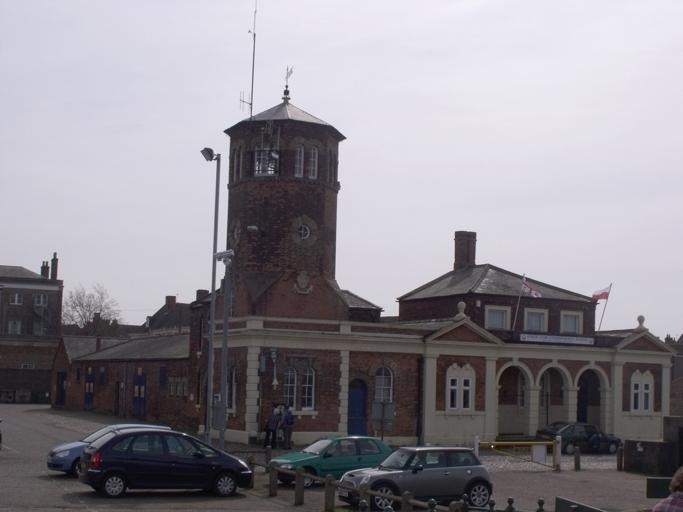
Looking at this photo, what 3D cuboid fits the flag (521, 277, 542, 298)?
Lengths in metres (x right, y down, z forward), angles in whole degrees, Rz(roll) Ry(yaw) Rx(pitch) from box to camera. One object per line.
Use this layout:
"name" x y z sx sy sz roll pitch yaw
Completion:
"flag" 11.166 1.972 71.561 0.301 0.988 2.682 -37 -15 17

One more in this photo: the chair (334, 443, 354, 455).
"chair" 0.202 7.784 48.824 0.510 0.487 0.719 -5 -8 32

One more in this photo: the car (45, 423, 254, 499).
"car" -6.872 7.975 46.723 5.348 1.977 2.927 1 -3 -20
